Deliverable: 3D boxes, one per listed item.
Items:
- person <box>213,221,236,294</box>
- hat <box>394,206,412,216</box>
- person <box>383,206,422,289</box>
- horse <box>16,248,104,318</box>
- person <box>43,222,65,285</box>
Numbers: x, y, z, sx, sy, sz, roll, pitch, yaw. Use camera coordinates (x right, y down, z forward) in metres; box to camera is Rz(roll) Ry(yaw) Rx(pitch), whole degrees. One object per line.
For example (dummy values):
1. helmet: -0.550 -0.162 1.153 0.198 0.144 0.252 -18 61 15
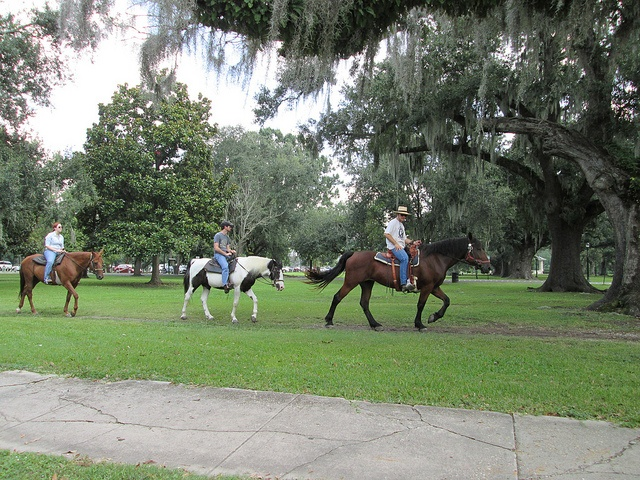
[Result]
1. person: -3.093 0.589 17.436 0.622 2.482 1.300 -1 7 -12
2. hat: 2.296 -0.820 15.174 0.314 0.146 0.357 5 -5 -5
3. person: 2.313 0.301 15.324 0.926 2.480 0.699 1 7 10
4. horse: -8.876 1.497 18.299 3.078 2.315 0.845 1 0 4
5. person: -8.828 0.450 17.973 0.820 2.038 0.650 2 7 13
